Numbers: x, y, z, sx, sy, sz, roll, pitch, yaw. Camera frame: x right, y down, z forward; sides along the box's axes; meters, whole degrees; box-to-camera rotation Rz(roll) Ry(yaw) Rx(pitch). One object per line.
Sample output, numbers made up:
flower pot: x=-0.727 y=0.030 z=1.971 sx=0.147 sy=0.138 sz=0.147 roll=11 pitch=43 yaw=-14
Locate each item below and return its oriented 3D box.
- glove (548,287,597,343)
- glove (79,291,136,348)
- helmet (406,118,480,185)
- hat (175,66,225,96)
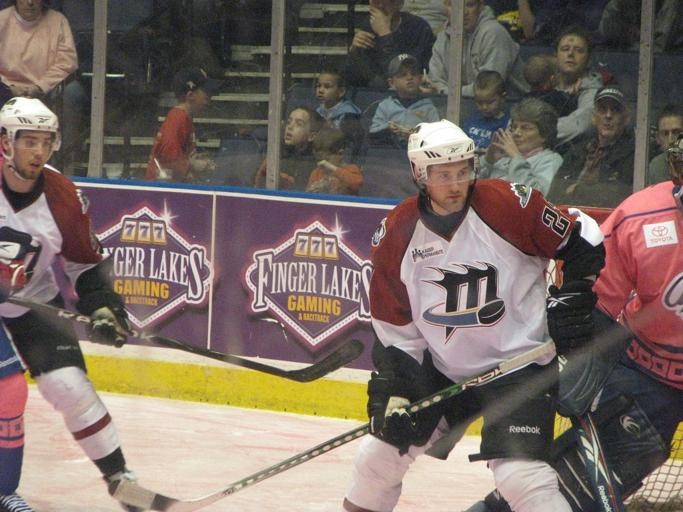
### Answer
glove: x=1.024 y=0.270 z=5.481 sx=0.233 sy=0.312 sz=0.179 roll=-6 pitch=9 yaw=-18
glove: x=-1.209 y=0.339 z=6.165 sx=0.235 sy=0.289 sz=0.118 roll=-9 pitch=-20 yaw=-27
helmet: x=0.424 y=-0.518 z=5.543 sx=0.279 sy=0.292 sz=0.313 roll=-13 pitch=16 yaw=-10
hat: x=-0.949 y=-1.168 z=7.877 sx=0.276 sy=0.137 sz=0.166 roll=-12 pitch=19 yaw=14
